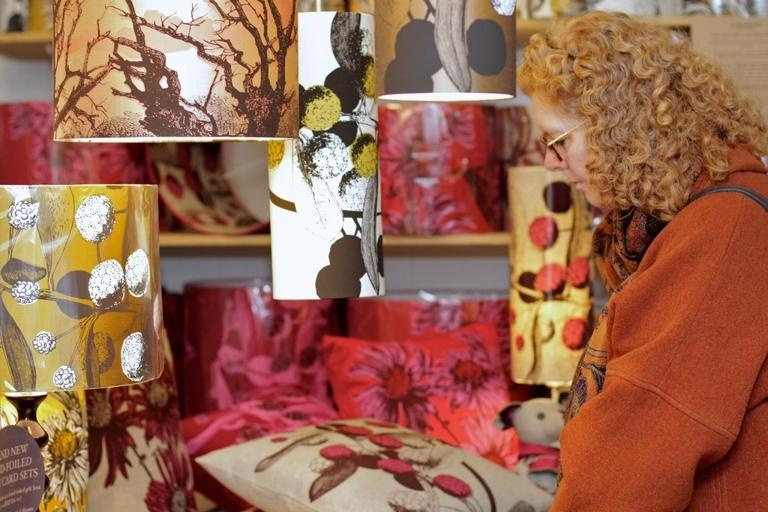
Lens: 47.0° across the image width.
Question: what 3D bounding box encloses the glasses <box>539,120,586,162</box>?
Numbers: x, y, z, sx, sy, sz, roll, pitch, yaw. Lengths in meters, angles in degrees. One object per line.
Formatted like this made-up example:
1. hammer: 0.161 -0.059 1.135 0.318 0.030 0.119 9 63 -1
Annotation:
1. glasses: 0.352 -0.236 1.811 0.096 0.030 0.096 -35 -3 1

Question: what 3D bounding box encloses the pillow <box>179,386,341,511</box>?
1. pillow: -0.339 0.429 2.320 0.295 0.154 0.277 -22 27 -35

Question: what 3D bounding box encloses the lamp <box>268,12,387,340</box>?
1. lamp: -0.122 -0.199 1.765 0.223 0.565 0.126 -3 7 -2

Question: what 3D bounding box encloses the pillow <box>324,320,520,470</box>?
1. pillow: 0.122 0.416 2.375 0.493 0.518 0.288 -4 -15 0

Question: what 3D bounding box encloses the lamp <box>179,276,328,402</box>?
1. lamp: -0.347 0.289 2.626 0.370 0.414 0.381 1 -2 -26
